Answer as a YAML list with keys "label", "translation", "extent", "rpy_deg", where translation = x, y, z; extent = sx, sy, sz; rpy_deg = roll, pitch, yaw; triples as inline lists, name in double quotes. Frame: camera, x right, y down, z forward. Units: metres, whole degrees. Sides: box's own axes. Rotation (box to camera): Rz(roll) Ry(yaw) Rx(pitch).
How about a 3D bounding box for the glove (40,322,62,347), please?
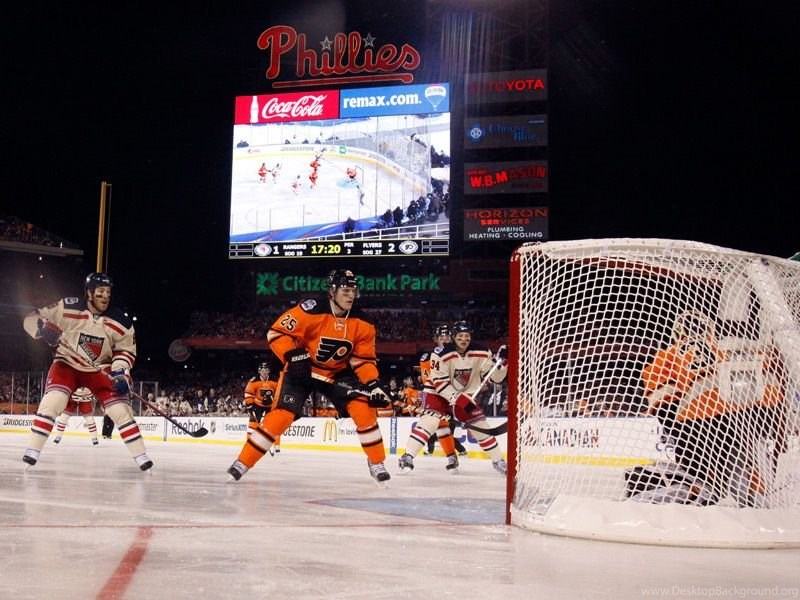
- label: "glove"
  translation: [-3.186, 0.311, 7.915]
  extent: [0.194, 0.212, 0.177]
  rpy_deg: [4, -4, -11]

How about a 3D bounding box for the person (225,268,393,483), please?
- label: "person"
  translation: [-0.677, 0.646, 7.381]
  extent: [1.233, 1.750, 0.460]
  rpy_deg: [3, -3, -4]

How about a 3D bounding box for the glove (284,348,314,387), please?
- label: "glove"
  translation: [-0.848, 0.577, 7.275]
  extent: [0.261, 0.262, 0.094]
  rpy_deg: [3, 9, 21]

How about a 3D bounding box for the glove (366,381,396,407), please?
- label: "glove"
  translation: [-0.183, 0.803, 7.362]
  extent: [0.234, 0.201, 0.530]
  rpy_deg: [3, -4, -2]

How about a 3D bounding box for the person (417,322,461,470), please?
- label: "person"
  translation: [0.490, 1.183, 10.962]
  extent: [0.564, 1.496, 0.500]
  rpy_deg: [5, 7, 17]

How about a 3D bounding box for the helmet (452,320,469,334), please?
- label: "helmet"
  translation: [0.665, 0.284, 9.456]
  extent: [0.132, 0.155, 0.152]
  rpy_deg: [7, -11, -11]

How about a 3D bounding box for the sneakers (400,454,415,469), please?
- label: "sneakers"
  translation: [0.084, 1.769, 9.437]
  extent: [0.189, 0.184, 0.150]
  rpy_deg: [-2, -4, 10]

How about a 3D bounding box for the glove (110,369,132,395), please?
- label: "glove"
  translation: [-2.491, 0.762, 7.872]
  extent: [0.161, 0.219, 0.218]
  rpy_deg: [-7, -9, -2]

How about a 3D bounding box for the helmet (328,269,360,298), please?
- label: "helmet"
  translation: [-0.511, -0.142, 7.363]
  extent: [0.271, 0.253, 0.218]
  rpy_deg: [-6, -4, 15]

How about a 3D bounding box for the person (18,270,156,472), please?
- label: "person"
  translation: [-2.960, 0.657, 8.129]
  extent: [1.217, 1.825, 0.736]
  rpy_deg: [1, -4, 26]

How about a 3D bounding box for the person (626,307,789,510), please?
- label: "person"
  translation: [2.010, 0.716, 5.482]
  extent: [1.179, 1.191, 0.282]
  rpy_deg: [13, -4, 9]

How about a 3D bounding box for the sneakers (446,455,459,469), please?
- label: "sneakers"
  translation: [0.622, 1.963, 10.433]
  extent: [0.188, 0.187, 0.114]
  rpy_deg: [-1, -3, 17]

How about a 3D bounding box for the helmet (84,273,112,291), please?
- label: "helmet"
  translation: [-2.785, -0.180, 7.960]
  extent: [0.207, 0.195, 0.166]
  rpy_deg: [-9, -8, 11]
